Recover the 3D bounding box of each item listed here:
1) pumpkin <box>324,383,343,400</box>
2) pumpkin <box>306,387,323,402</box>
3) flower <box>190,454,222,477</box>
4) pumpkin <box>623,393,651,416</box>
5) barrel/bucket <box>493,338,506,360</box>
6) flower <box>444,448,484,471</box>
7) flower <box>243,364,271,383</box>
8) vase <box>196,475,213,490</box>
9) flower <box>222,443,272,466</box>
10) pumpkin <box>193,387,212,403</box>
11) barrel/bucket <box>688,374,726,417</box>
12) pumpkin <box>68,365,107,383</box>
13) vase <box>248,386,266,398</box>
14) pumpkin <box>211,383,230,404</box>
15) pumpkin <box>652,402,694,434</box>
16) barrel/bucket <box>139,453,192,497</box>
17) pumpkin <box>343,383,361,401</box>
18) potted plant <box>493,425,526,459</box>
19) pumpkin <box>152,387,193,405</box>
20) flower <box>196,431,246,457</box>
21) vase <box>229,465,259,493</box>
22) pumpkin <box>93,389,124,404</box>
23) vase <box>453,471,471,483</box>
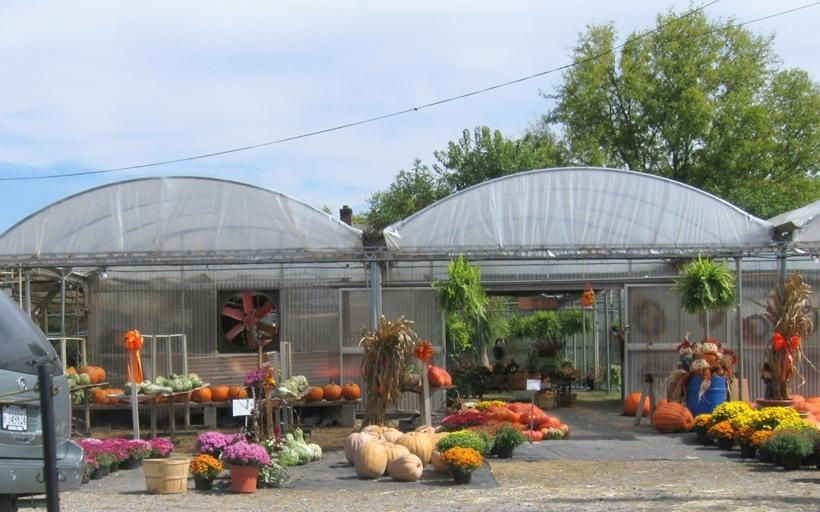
[{"bbox_3d":[-1.925,3.399,30.723,0.369,0.368,0.375,-10,-7,16],"label":"pumpkin"},{"bbox_3d":[-2.406,3.419,30.605,0.373,0.372,0.373,-12,2,-26],"label":"pumpkin"},{"bbox_3d":[-4.258,4.326,25.379,0.502,0.338,0.490,0,3,-25],"label":"flower"},{"bbox_3d":[6.074,3.893,32.018,0.607,0.593,0.560,15,3,-19],"label":"pumpkin"},{"bbox_3d":[2.946,3.057,40.055,0.400,0.668,0.866,-3,-8,3],"label":"barrel/bucket"},{"bbox_3d":[1.135,4.217,25.627,0.549,0.310,0.556,0,-2,17],"label":"flower"},{"bbox_3d":[-3.337,2.570,26.742,0.516,0.316,0.391,-6,-5,-15],"label":"flower"},{"bbox_3d":[-4.324,4.694,25.431,0.281,0.169,0.279,1,-5,-6],"label":"vase"},{"bbox_3d":[-3.400,4.084,25.289,0.994,0.511,0.253,-1,-7,-10],"label":"flower"},{"bbox_3d":[-5.272,3.476,30.679,0.370,0.364,0.383,-46,-28,26],"label":"pumpkin"},{"bbox_3d":[7.427,3.394,29.942,0.928,0.973,0.955,0,-6,0],"label":"barrel/bucket"},{"bbox_3d":[-8.185,2.990,30.784,0.533,0.247,0.584,-1,-1,16],"label":"pumpkin"},{"bbox_3d":[-3.376,2.956,26.821,0.294,0.292,0.536,2,-1,8],"label":"vase"},{"bbox_3d":[-4.844,3.466,31.046,0.387,0.378,0.393,3,15,34],"label":"pumpkin"},{"bbox_3d":[6.452,3.911,29.780,0.867,0.763,0.773,1,31,26],"label":"pumpkin"},{"bbox_3d":[-5.108,4.539,25.278,0.756,0.488,0.775,-1,-9,0],"label":"barrel/bucket"},{"bbox_3d":[-1.504,3.441,30.901,0.377,0.398,0.541,-3,-8,8],"label":"pumpkin"},{"bbox_3d":[2.197,4.149,27.307,0.698,0.669,0.704,1,2,15],"label":"potted plant"},{"bbox_3d":[-5.735,3.380,29.492,0.593,0.252,0.589,3,-8,-31],"label":"pumpkin"},{"bbox_3d":[-4.078,3.908,25.726,0.731,0.358,0.604,1,-4,-8],"label":"flower"},{"bbox_3d":[-3.452,4.591,25.203,0.548,0.396,0.549,-1,-13,2],"label":"vase"},{"bbox_3d":[-7.525,3.474,30.335,0.445,0.231,0.476,-4,-7,36],"label":"pumpkin"},{"bbox_3d":[1.112,4.602,25.639,0.389,0.305,0.402,-2,-8,0],"label":"vase"}]
